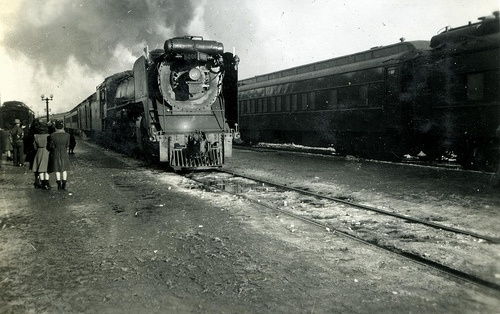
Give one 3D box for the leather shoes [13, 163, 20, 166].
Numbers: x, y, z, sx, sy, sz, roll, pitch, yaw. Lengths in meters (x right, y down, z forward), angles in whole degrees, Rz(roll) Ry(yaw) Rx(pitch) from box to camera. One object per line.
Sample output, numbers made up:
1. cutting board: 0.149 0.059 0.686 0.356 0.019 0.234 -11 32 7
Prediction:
1. leather shoes: -10.048 0.321 16.569 0.132 0.129 0.099 2 6 8
